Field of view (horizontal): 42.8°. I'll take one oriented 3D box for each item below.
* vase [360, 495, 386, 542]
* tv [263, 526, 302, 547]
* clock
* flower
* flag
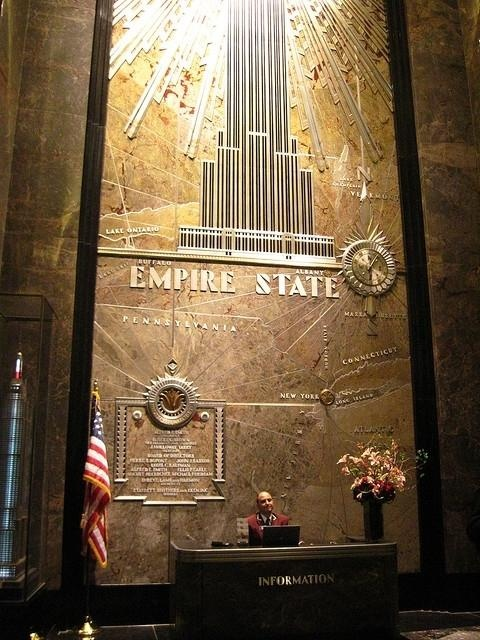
[{"bbox_3d":[1.124,1.678,5.159,0.163,0.360,0.368,-3,-6,10],"label":"vase"},{"bbox_3d":[0.311,1.649,4.666,0.304,0.169,0.164,-1,-6,-9],"label":"tv"},{"bbox_3d":[1.408,-0.528,6.777,0.575,0.622,0.103,3,-11,-14],"label":"clock"},{"bbox_3d":[1.277,1.447,5.644,0.644,0.494,0.669,-21,-4,9],"label":"flower"},{"bbox_3d":[-1.233,1.355,5.161,0.225,1.350,0.440,0,-6,-15],"label":"flag"}]
